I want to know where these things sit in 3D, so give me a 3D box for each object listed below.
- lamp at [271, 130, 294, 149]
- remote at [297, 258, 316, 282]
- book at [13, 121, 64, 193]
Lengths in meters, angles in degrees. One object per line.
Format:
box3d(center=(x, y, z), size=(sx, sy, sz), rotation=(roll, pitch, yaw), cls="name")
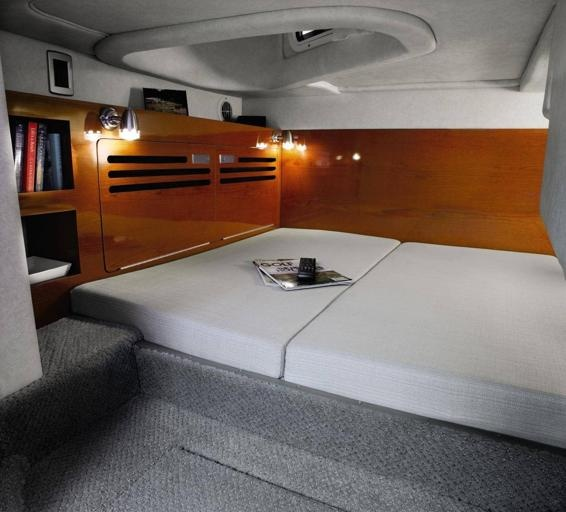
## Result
box3d(center=(0.004, -1.024, 3.376), size=(0.193, 0.175, 0.258), rotation=(2, 14, 3), cls="lamp")
box3d(center=(0.122, 0.069, 1.970), size=(0.092, 0.044, 0.192), rotation=(5, 25, 9), cls="remote")
box3d(center=(-1.029, -0.426, 1.616), size=(0.081, 0.298, 0.250), rotation=(7, 16, 22), cls="book")
